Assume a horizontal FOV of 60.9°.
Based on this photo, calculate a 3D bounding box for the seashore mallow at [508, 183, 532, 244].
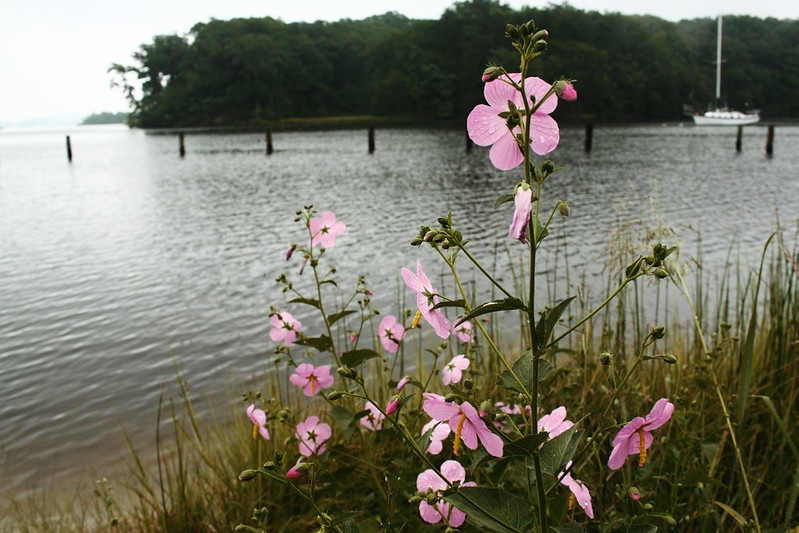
[{"bbox_3d":[0.829,-0.360,4.611,0.153,0.411,0.257,1,14,10],"label":"seashore mallow"}]

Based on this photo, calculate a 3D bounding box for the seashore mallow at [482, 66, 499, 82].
[{"bbox_3d":[0.631,-1.320,4.681,0.117,0.109,0.135,1,15,9],"label":"seashore mallow"}]

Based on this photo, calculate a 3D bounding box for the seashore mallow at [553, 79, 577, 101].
[{"bbox_3d":[1.157,-1.214,4.715,0.167,0.126,0.123,19,30,4],"label":"seashore mallow"}]

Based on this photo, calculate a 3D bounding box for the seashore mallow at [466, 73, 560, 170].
[{"bbox_3d":[0.809,-1.019,4.832,0.639,0.680,0.394,1,14,9],"label":"seashore mallow"}]

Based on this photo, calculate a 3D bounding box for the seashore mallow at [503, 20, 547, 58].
[{"bbox_3d":[0.888,-1.595,4.777,0.276,0.265,0.431,1,15,9],"label":"seashore mallow"}]
